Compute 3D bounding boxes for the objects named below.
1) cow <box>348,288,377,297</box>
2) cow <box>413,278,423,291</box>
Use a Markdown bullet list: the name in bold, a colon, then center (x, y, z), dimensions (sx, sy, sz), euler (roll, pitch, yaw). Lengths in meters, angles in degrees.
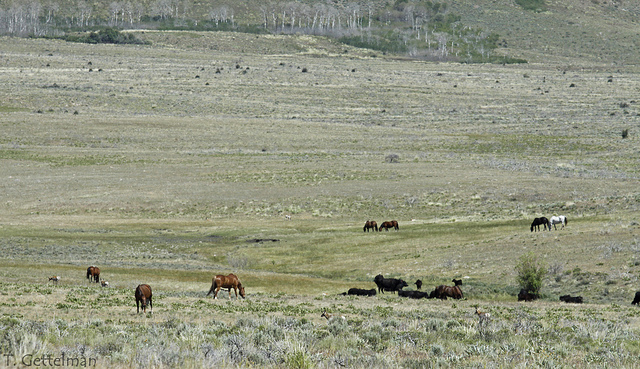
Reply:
- **cow**: center (7.400, 18.739, 223.031), dimensions (4.840, 1.189, 1.252), euler (1, 8, -6)
- **cow**: center (17.542, 17.473, 224.843), dimensions (1.682, 1.742, 2.121), euler (2, 8, 3)
